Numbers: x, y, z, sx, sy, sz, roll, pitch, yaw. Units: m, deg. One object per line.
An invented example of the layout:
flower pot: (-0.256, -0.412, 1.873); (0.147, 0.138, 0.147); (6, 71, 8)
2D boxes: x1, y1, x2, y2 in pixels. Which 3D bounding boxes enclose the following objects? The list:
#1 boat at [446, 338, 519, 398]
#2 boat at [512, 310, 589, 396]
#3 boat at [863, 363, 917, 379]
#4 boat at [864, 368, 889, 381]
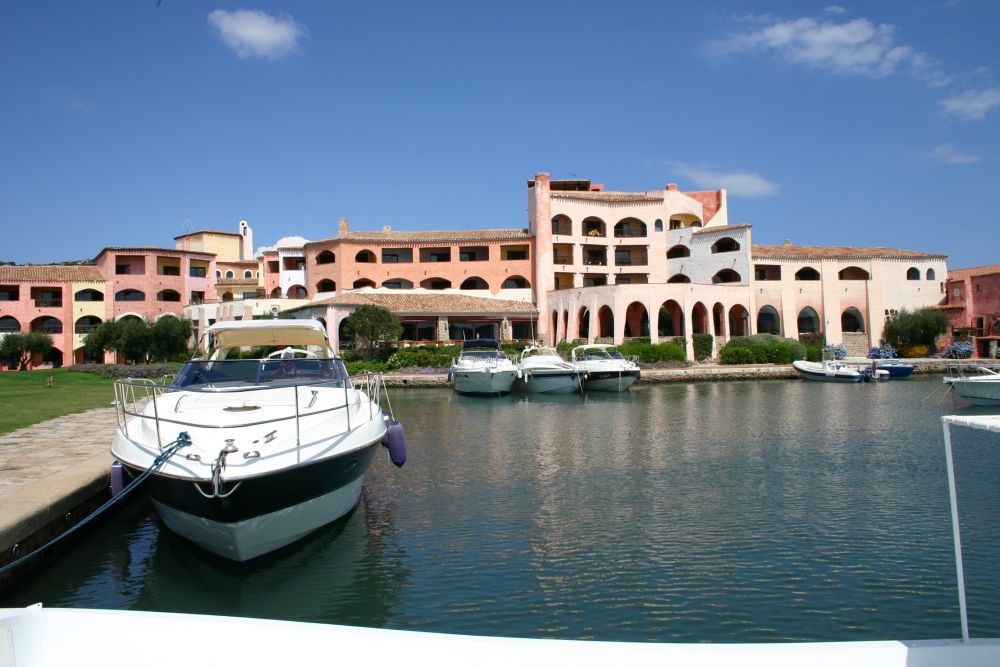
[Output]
boat: (-0.705, 2.032, 36.540); (2.563, 2.003, 3.108); (-3, 10, -14)
boat: (2.121, 1.890, 37.304); (2.855, 1.987, 3.533); (-3, 9, -13)
boat: (22.987, 2.309, 46.694); (2.198, 0.497, 0.868); (1, 2, 4)
boat: (21.917, 2.496, 45.554); (0.952, 0.568, 1.774); (3, 6, 30)
